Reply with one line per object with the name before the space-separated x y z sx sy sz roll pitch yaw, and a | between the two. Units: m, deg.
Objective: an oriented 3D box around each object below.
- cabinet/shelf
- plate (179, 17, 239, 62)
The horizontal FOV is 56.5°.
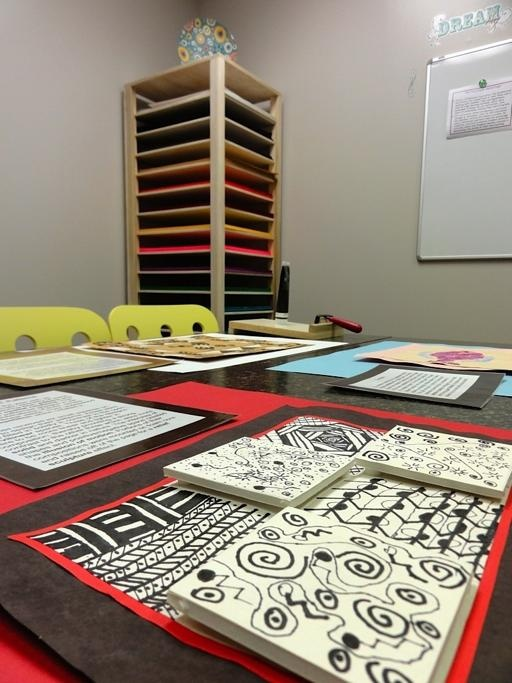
cabinet/shelf | -0.246 -0.695 2.568 0.685 1.239 0.648 3 7 35
plate | -0.228 -1.511 2.460 0.360 0.257 0.050 -5 7 -40
